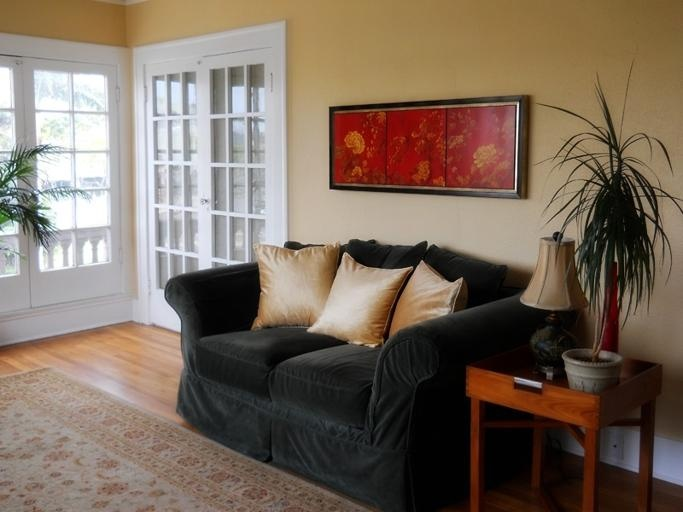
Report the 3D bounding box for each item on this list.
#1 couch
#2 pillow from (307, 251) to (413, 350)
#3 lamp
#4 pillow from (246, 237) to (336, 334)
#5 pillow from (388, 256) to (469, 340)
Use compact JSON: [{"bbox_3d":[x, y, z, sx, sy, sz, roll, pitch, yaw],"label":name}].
[{"bbox_3d":[0.056,0.498,3.228,2.060,1.119,1.309,8,12,39],"label":"couch"},{"bbox_3d":[0.111,0.285,3.131,0.486,0.495,0.146,12,-11,45],"label":"pillow"},{"bbox_3d":[0.921,0.174,2.342,0.271,0.561,0.253,-9,13,-43],"label":"lamp"},{"bbox_3d":[-0.292,0.190,3.526,0.545,0.562,0.216,-1,6,-10],"label":"pillow"},{"bbox_3d":[0.452,0.290,3.010,0.224,0.432,0.455,-1,13,-25],"label":"pillow"}]
